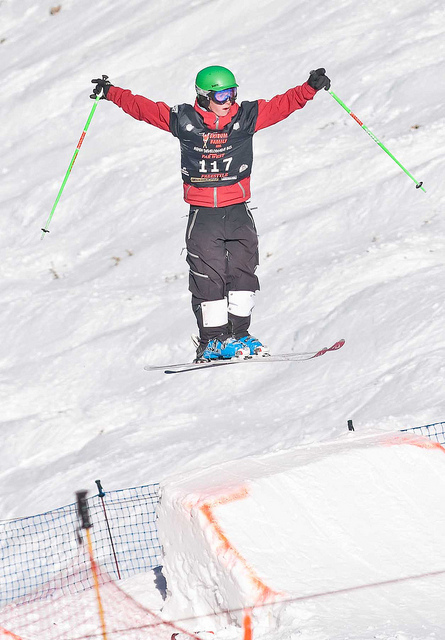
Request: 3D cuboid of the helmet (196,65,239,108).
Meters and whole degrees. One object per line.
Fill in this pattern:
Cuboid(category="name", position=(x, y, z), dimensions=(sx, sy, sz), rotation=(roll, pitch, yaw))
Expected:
Cuboid(category="helmet", position=(-0.108, -2.219, 6.979), dimensions=(0.431, 0.322, 0.408), rotation=(-7, 22, -16))

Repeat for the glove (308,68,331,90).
Cuboid(category="glove", position=(0.931, -2.297, 6.953), dimensions=(0.198, 0.258, 0.289), rotation=(2, 36, 13))
